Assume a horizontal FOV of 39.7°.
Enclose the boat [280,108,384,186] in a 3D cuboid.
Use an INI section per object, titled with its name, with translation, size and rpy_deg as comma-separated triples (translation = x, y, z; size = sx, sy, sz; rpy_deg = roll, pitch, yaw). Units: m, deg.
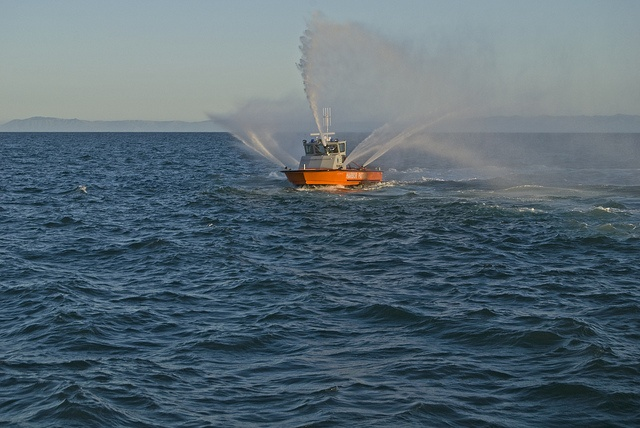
[boat]
translation = 0.663, -4.333, 59.748
size = 3.091, 5.217, 6.166
rpy_deg = 0, 8, 33
